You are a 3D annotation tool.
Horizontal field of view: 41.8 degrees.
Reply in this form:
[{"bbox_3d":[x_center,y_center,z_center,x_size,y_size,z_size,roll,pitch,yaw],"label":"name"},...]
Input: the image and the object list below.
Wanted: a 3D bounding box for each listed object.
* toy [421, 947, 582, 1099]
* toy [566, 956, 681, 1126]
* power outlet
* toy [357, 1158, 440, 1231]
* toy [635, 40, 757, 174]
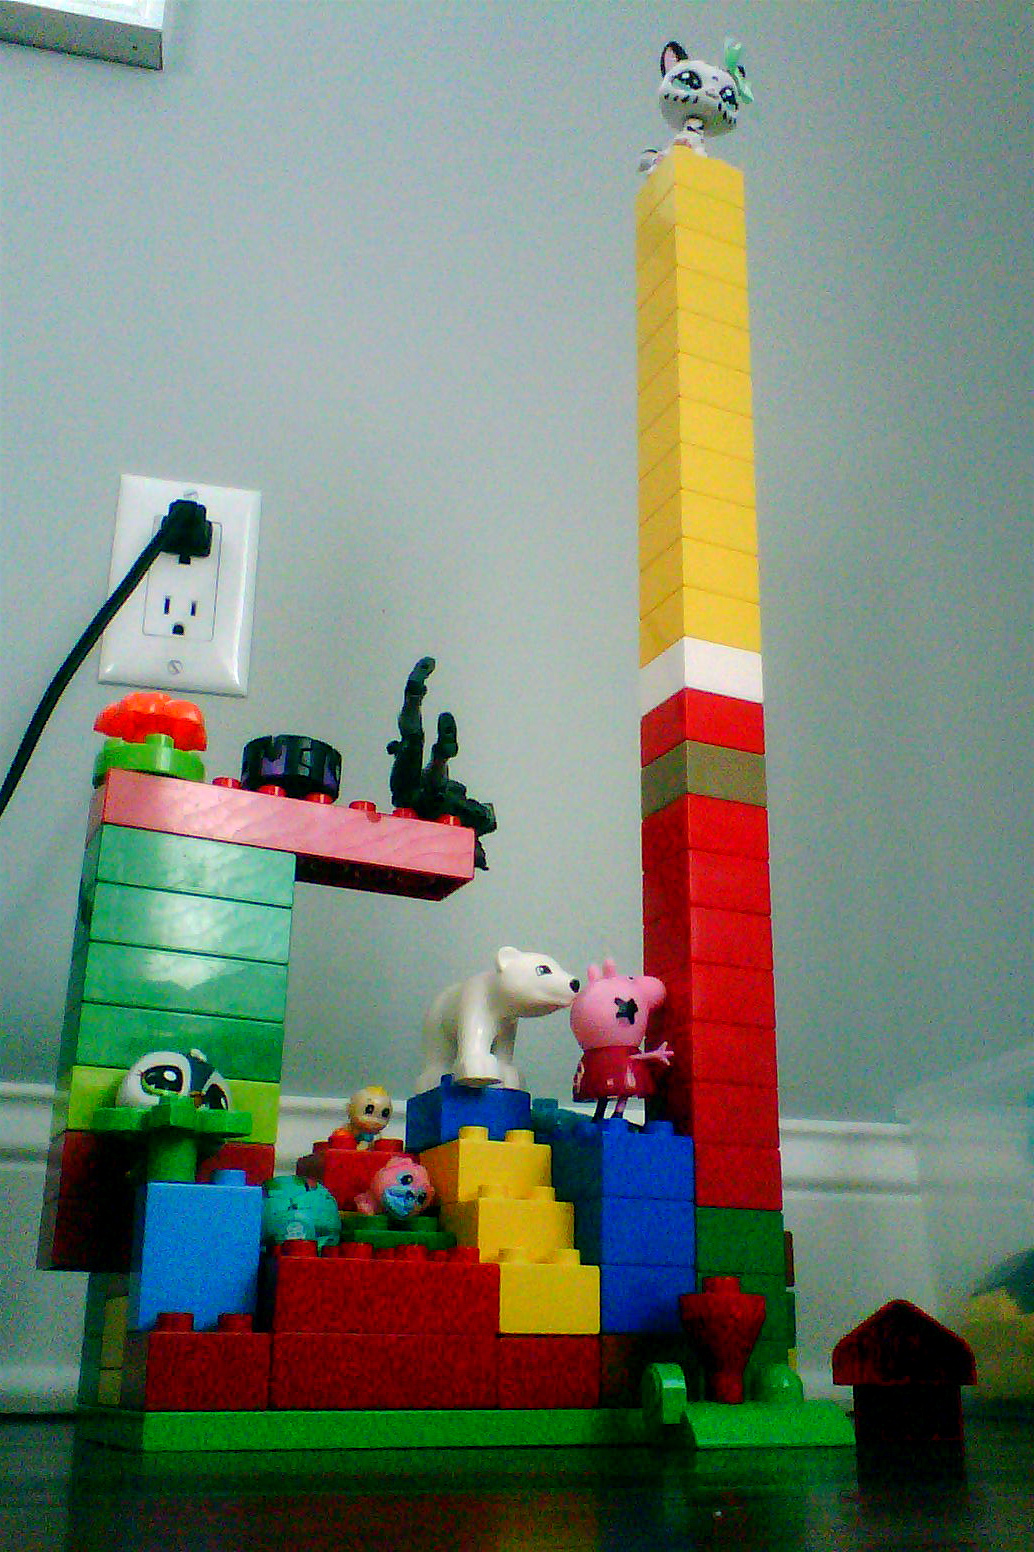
[{"bbox_3d":[-0.022,0.207,1.119,0.069,0.110,0.167,22,-32,-37],"label":"toy"},{"bbox_3d":[0.053,0.213,1.113,0.098,0.148,0.133,4,-12,-21],"label":"toy"},{"bbox_3d":[-0.370,-0.214,1.490,0.182,0.233,0.056,2,-6,-19],"label":"power outlet"},{"bbox_3d":[-0.089,0.305,0.996,0.056,0.045,0.057,8,-14,-27],"label":"toy"},{"bbox_3d":[0.180,-0.660,1.340,0.095,0.129,0.074,10,-1,-4],"label":"toy"}]
